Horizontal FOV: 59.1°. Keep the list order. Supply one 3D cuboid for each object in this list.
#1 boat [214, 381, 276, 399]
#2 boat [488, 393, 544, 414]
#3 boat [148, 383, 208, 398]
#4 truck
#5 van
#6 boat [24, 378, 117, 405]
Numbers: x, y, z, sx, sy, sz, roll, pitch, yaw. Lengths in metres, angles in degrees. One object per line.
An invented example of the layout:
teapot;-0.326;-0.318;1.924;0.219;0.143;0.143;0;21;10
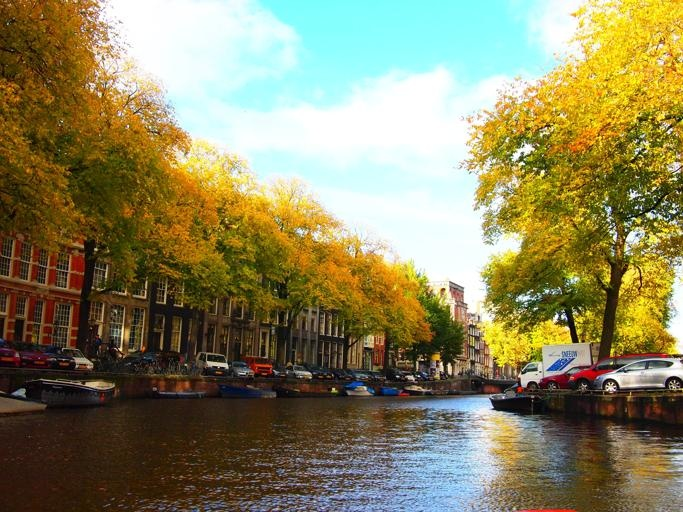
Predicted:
boat;-6.365;9.509;41.446;1.173;0.918;4.887;-15;-28;38
boat;11.379;9.515;38.941;1.695;1.379;4.412;3;-18;-9
boat;-9.972;8.209;36.343;0.891;0.443;2.865;-15;-26;41
truck;14.925;7.276;41.405;2.083;2.785;5.396;10;-13;-38
van;14.445;6.163;32.664;4.221;1.398;2.273;-11;-15;35
boat;-11.862;6.115;26.743;1.460;0.712;2.837;0;-12;36
